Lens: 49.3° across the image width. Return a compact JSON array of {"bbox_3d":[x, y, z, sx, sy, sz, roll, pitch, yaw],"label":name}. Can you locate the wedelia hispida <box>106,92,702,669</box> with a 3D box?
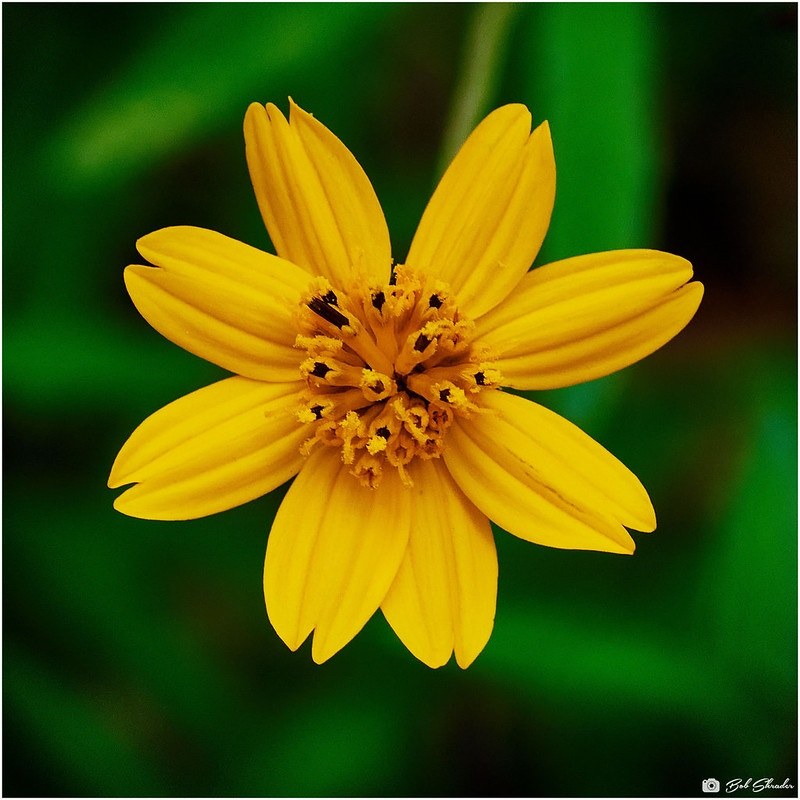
[{"bbox_3d":[0.000,-0.045,1.512,1.004,0.239,0.955,0,-85,-1],"label":"wedelia hispida"}]
